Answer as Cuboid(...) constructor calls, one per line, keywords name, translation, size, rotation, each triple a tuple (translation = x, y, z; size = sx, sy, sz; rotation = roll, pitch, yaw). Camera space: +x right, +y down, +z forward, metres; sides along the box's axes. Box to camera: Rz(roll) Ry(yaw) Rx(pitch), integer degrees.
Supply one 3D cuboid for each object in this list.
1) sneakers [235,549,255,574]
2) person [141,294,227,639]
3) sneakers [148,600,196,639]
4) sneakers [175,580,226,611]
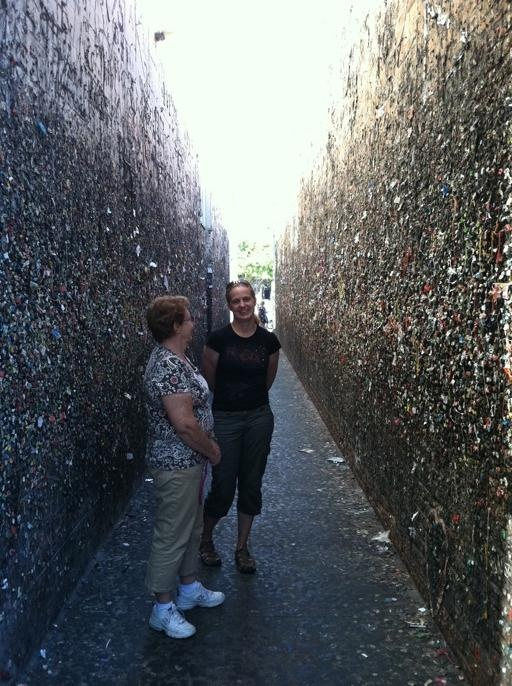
Cuboid(name="sneakers", translation=(-0.063, 1.248, 2.831), size=(0.118, 0.132, 0.143), rotation=(0, 0, -2))
Cuboid(name="person", translation=(-0.337, 0.545, 2.251), size=(0.334, 1.527, 0.510), rotation=(0, 0, 6))
Cuboid(name="sneakers", translation=(-0.379, 1.224, 2.235), size=(0.206, 0.170, 0.106), rotation=(9, 3, 28))
Cuboid(name="sneakers", translation=(-0.282, 1.217, 2.481), size=(0.241, 0.181, 0.114), rotation=(-3, 21, -15))
